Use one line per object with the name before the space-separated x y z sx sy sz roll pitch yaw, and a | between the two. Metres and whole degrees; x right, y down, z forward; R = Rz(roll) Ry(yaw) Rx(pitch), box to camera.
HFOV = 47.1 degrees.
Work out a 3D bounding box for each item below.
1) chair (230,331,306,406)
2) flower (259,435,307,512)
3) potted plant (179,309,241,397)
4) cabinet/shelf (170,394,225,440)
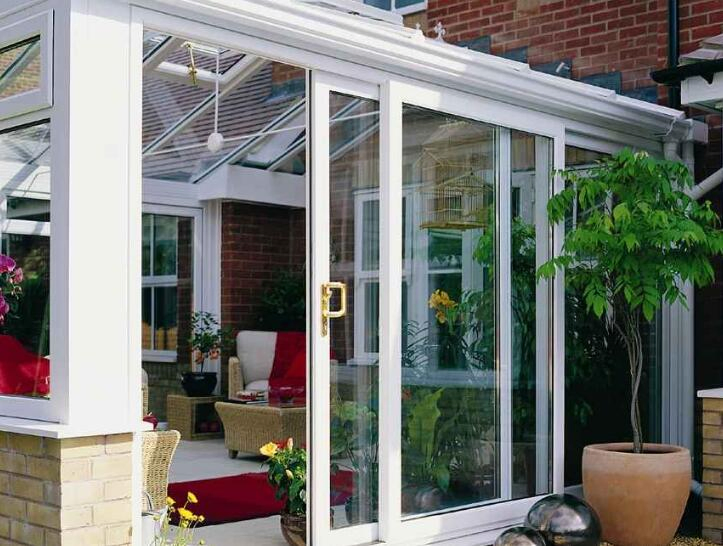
chair | -0.948 1.121 9.067 0.889 1.057 0.772 0 -6 -8
flower | -0.498 1.276 5.295 0.271 0.442 0.453 0 -4 -8
potted plant | -1.761 0.940 9.631 0.449 0.992 0.627 13 -21 -22
cabinet/shelf | -1.890 1.558 9.456 0.517 0.535 0.490 1 -1 -40
